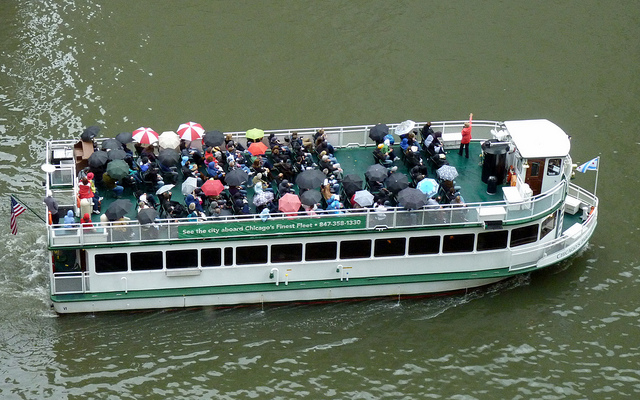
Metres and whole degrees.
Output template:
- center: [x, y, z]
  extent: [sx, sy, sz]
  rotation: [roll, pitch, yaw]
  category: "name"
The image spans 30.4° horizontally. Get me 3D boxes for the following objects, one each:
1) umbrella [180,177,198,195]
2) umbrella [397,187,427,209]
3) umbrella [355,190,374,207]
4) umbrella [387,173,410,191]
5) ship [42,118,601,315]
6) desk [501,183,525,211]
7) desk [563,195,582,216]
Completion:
- center: [-9.565, -1.058, 86.716]
  extent: [1.127, 1.189, 0.865]
  rotation: [-14, 19, -36]
  category: "umbrella"
- center: [6.690, -0.052, 85.926]
  extent: [2.010, 1.427, 0.947]
  rotation: [-2, 15, 5]
  category: "umbrella"
- center: [3.214, -0.023, 86.455]
  extent: [1.425, 1.246, 0.980]
  rotation: [-3, 15, 1]
  category: "umbrella"
- center: [5.768, -1.356, 87.712]
  extent: [1.425, 1.258, 0.895]
  rotation: [-5, 1, 3]
  category: "umbrella"
- center: [0.313, 0.369, 90.290]
  extent: [43.030, 10.342, 11.622]
  rotation: [-2, 40, -12]
  category: "ship"
- center: [14.284, -0.184, 87.265]
  extent: [1.572, 1.036, 2.246]
  rotation: [-8, 51, -3]
  category: "desk"
- center: [19.614, 0.357, 91.711]
  extent: [1.254, 0.505, 1.569]
  rotation: [16, 25, 27]
  category: "desk"
